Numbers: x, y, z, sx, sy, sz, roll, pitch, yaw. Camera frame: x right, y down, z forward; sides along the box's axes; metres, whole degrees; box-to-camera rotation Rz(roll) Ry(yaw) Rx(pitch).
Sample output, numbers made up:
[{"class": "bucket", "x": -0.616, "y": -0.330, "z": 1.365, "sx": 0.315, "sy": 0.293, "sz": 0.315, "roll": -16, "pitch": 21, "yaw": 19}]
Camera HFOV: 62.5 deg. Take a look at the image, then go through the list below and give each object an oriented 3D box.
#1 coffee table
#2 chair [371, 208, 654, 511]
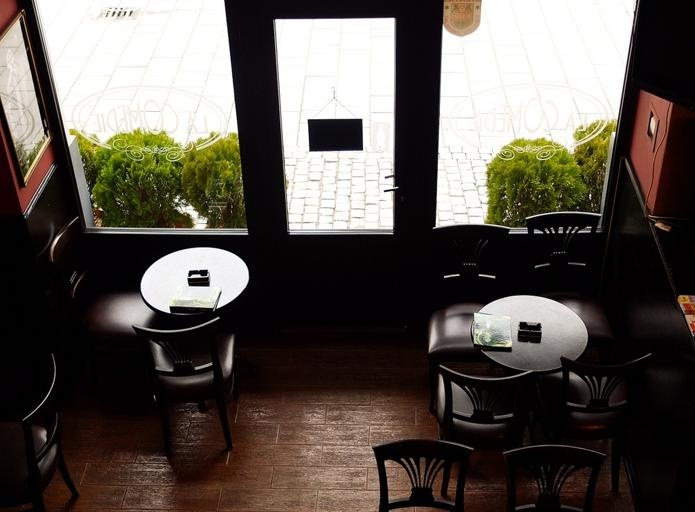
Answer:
[{"class": "coffee table", "x": -1.204, "y": 0.189, "z": 4.606, "sx": 0.551, "sy": 0.141, "sz": 0.608, "roll": 7, "pitch": 44, "yaw": 3}, {"class": "chair", "x": 1.267, "y": 0.742, "z": 4.219, "sx": 1.223, "sy": 2.296, "sz": 1.587, "roll": 1, "pitch": 45, "yaw": 4}]
